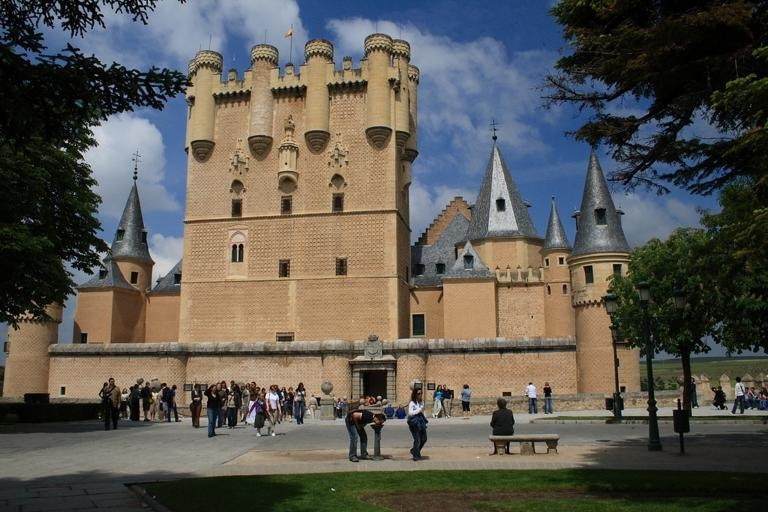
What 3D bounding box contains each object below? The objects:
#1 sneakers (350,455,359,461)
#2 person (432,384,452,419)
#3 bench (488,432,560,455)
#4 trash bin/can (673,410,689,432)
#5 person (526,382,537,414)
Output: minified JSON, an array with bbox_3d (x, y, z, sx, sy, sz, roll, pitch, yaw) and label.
[{"bbox_3d":[-0.855,5.703,25.814,0.256,0.164,0.416,1,-12,-2],"label":"sneakers"},{"bbox_3d":[2.599,6.563,41.422,0.884,1.469,1.671,0,-12,3],"label":"person"},{"bbox_3d":[4.123,5.573,27.095,1.915,0.604,1.547,0,-12,5],"label":"bench"},{"bbox_3d":[8.432,4.687,26.079,0.389,0.679,0.398,-1,-13,11],"label":"trash bin/can"},{"bbox_3d":[6.640,6.394,41.126,0.463,1.363,1.482,-1,-12,9],"label":"person"}]
